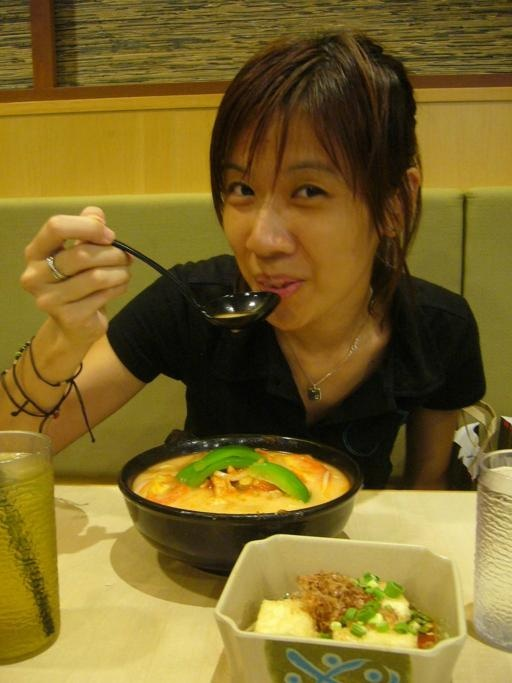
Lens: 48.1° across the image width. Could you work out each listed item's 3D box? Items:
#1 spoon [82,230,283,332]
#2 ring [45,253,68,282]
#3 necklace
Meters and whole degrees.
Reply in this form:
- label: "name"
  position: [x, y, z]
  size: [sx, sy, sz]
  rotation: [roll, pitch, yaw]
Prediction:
- label: "spoon"
  position: [-0.215, -0.159, 1.148]
  size: [0.121, 0.076, 0.512]
  rotation: [-13, 21, -38]
- label: "ring"
  position: [-0.312, -0.117, 0.909]
  size: [0.015, 0.035, 0.034]
  rotation: [-37, 4, -38]
- label: "necklace"
  position: [0.185, -0.005, 1.431]
  size: [0.238, 0.278, 0.109]
  rotation: [-2, 7, 2]
